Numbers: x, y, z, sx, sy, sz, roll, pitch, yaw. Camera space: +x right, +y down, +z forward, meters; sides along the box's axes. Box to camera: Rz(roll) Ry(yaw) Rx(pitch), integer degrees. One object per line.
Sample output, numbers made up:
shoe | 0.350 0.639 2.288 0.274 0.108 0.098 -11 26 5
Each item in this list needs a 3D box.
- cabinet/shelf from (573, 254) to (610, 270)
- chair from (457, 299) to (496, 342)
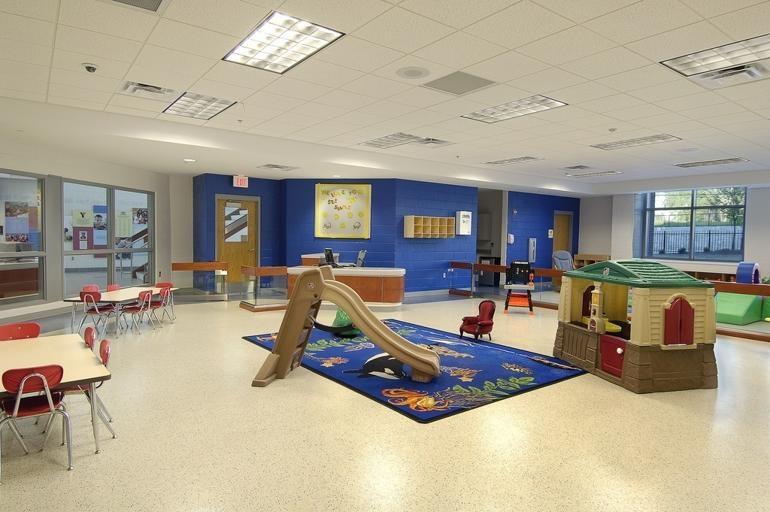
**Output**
cabinet/shelf | 7.777 0.177 16.482 1.177 0.482 0.823 4 5 43
chair | 1.893 1.266 8.735 0.852 0.898 0.792 1 0 -30
